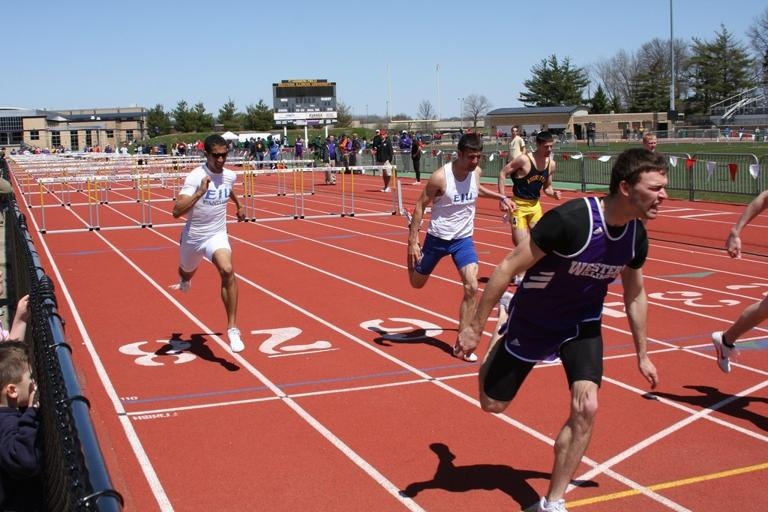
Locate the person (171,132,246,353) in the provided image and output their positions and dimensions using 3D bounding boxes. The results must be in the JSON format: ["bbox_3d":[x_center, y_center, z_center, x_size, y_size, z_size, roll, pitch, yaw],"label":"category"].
[{"bbox_3d":[-2.315,-0.270,7.742,1.070,2.998,1.232,0,-2,-11],"label":"person"}]

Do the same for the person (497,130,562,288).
[{"bbox_3d":[2.473,-0.879,10.150,0.977,2.337,0.739,4,17,-1],"label":"person"}]

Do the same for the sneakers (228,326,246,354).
[{"bbox_3d":[-1.836,1.021,7.408,0.155,0.159,0.433,-12,22,-16],"label":"sneakers"}]

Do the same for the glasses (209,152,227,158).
[{"bbox_3d":[-2.082,-1.280,7.561,0.098,0.069,0.212,9,15,38],"label":"glasses"}]
